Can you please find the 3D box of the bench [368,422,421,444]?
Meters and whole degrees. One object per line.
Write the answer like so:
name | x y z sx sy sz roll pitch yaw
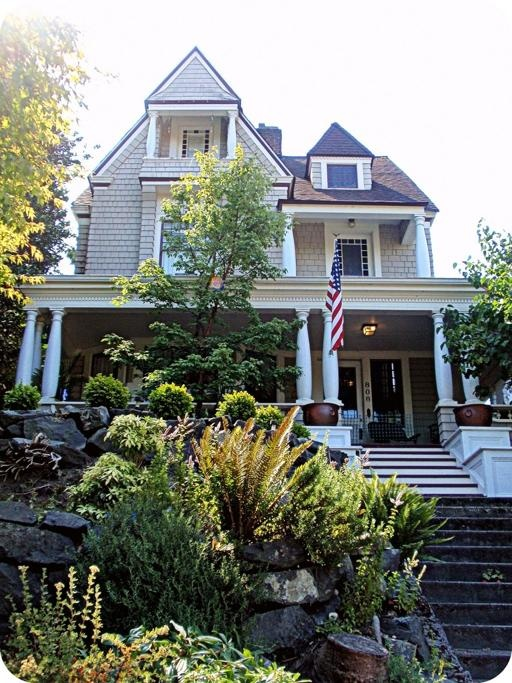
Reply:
bench | 3.564 2.411 13.378 1.055 0.855 0.744 0 -6 2

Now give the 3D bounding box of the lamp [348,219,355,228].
lamp | 2.810 -3.480 15.043 0.174 0.286 0.195 -3 -9 42

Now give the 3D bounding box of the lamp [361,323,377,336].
lamp | 2.922 -0.315 13.176 0.332 0.184 0.360 2 -20 -3

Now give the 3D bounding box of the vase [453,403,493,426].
vase | 4.367 1.494 10.190 0.704 0.493 0.582 -4 -14 20
